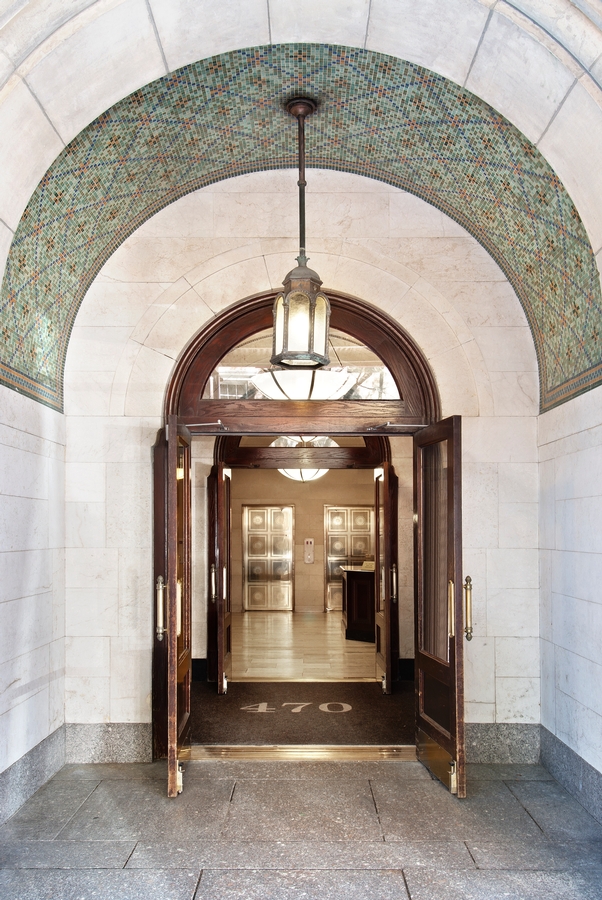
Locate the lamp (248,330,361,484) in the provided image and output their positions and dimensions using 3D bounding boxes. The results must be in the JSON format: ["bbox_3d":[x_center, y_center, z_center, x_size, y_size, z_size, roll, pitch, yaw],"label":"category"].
[{"bbox_3d":[0.039,-0.289,5.038,0.908,1.004,0.922,0,-7,0],"label":"lamp"}]

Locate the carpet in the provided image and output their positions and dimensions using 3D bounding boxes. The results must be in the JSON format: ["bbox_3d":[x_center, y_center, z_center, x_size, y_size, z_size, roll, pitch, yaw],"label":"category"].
[{"bbox_3d":[-0.014,2.173,5.680,1.850,0.072,1.726,3,-3,-11],"label":"carpet"}]
